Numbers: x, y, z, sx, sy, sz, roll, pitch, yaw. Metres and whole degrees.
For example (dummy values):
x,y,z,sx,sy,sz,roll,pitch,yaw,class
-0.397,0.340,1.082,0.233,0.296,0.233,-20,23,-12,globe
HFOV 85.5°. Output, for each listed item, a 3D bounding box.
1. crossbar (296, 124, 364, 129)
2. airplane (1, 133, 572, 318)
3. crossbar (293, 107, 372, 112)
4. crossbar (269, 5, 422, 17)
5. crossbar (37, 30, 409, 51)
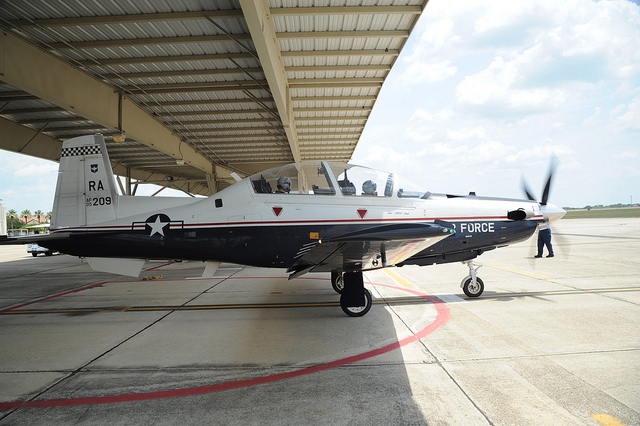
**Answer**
x,y,z,sx,sy,sz,roll,pitch,yaw,class
0.503,-4.566,18.168,3.442,0.146,0.764,-2,9,-4,crossbar
-0.927,0.301,7.811,9.049,1.739,7.405,-1,2,-4,airplane
0.494,-4.869,16.181,3.513,0.145,0.514,-2,9,-3,crossbar
0.737,-5.855,9.884,4.298,0.222,0.192,-2,12,-1,crossbar
-3.323,-5.303,10.481,10.848,0.258,0.564,-2,25,-3,crossbar
